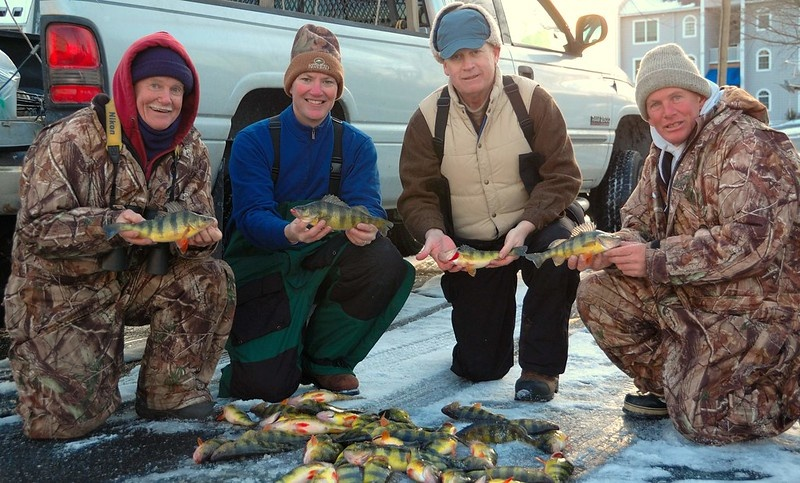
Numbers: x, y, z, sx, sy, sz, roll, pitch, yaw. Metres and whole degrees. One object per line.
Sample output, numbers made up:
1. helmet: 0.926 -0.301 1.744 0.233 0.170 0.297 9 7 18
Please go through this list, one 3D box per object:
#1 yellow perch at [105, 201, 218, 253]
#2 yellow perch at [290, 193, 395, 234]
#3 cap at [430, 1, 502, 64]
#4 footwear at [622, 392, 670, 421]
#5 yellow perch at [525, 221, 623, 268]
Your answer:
1. yellow perch: -1.656 -0.064 4.226 0.709 0.308 0.220 -2 12 -17
2. yellow perch: -0.425 -0.193 4.679 0.809 0.282 0.210 10 -1 -21
3. cap: 0.521 -1.703 4.941 0.561 0.437 0.300 3 11 5
4. footwear: 1.753 1.171 4.350 0.302 0.119 0.136 5 1 15
5. yellow perch: 1.276 0.027 4.558 0.706 0.291 0.162 -17 -16 18
